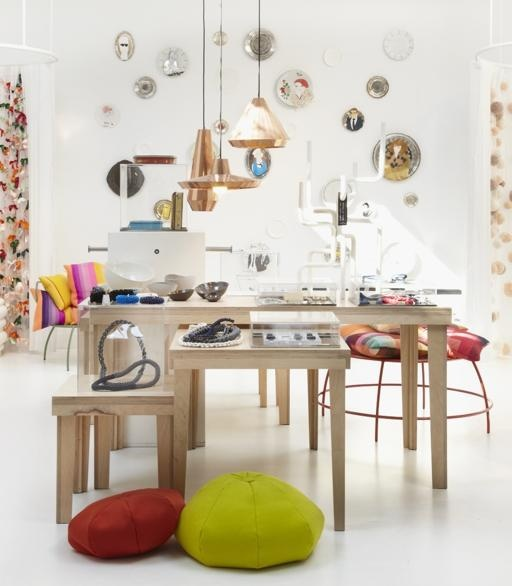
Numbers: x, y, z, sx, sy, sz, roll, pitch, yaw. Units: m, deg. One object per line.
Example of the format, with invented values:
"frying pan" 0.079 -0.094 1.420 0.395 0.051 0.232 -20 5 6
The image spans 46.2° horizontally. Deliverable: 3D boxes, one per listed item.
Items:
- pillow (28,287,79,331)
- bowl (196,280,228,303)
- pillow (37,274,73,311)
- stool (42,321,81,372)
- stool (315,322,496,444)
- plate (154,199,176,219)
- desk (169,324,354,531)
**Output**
"pillow" -1.926 0.179 5.582 0.403 0.387 0.122 -8 -9 -33
"bowl" -0.219 -0.010 2.968 0.116 0.054 0.118 -10 20 3
"pillow" -1.854 -0.012 5.637 0.110 0.298 0.403 -25 6 13
"stool" -1.980 0.492 6.037 0.369 0.301 0.315 10 -7 -37
"stool" 1.008 0.557 3.980 1.174 0.648 1.200 0 0 -14
"plate" -0.589 -0.545 3.884 0.048 0.166 0.166 11 10 32
"desk" 0.065 0.555 2.712 0.789 0.690 0.766 1 1 3
